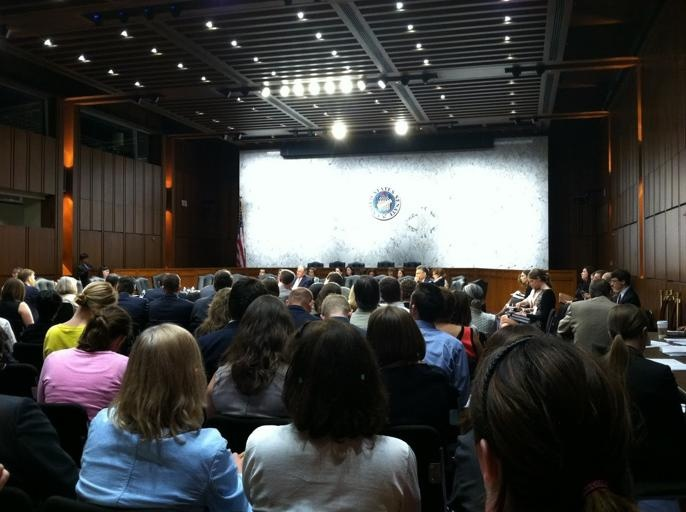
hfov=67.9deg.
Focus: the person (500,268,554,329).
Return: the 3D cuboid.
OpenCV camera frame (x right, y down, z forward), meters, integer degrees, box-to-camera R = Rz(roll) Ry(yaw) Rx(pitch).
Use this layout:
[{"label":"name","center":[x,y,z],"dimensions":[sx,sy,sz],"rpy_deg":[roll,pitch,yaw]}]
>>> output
[{"label":"person","center":[3.030,0.646,8.326],"dimensions":[0.750,1.369,0.577],"rpy_deg":[8,-26,10]}]
